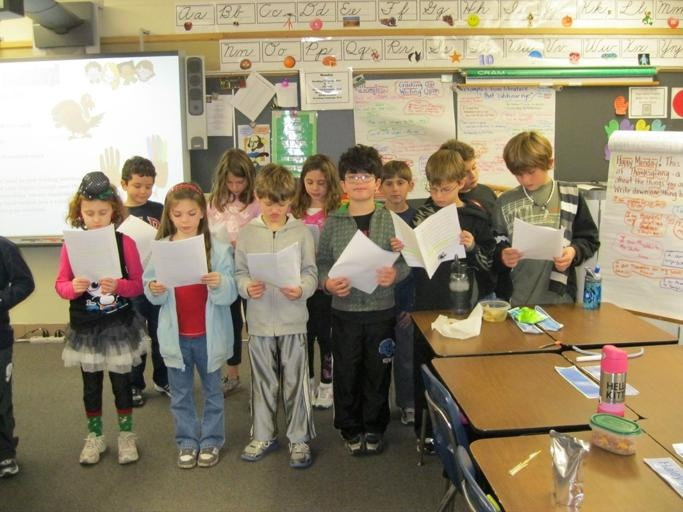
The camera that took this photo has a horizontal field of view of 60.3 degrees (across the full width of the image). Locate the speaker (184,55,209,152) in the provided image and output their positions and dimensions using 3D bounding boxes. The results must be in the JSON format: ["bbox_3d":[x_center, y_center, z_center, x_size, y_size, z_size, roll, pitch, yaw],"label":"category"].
[{"bbox_3d":[-1.199,-1.262,4.783,0.158,0.725,0.113,1,15,9],"label":"speaker"}]

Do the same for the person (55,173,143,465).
[{"bbox_3d":[-1.317,0.334,3.261,0.455,1.580,0.514,-6,16,-18],"label":"person"}]

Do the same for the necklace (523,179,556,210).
[{"bbox_3d":[1.136,-0.352,3.401,0.149,0.204,0.111,-3,32,-2],"label":"necklace"}]

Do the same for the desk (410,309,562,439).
[{"bbox_3d":[0.693,0.513,2.974,0.556,0.517,0.555,-5,17,-13],"label":"desk"}]

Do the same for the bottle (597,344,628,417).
[{"bbox_3d":[1.044,0.476,2.263,0.102,0.288,0.200,7,17,27],"label":"bottle"}]

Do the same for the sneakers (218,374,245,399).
[{"bbox_3d":[-0.760,0.886,4.019,0.061,0.079,0.181,-6,-5,24],"label":"sneakers"}]

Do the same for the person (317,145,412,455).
[{"bbox_3d":[0.123,0.259,3.217,0.499,1.689,0.471,-2,15,-4],"label":"person"}]

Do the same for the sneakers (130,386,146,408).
[{"bbox_3d":[-1.345,0.934,3.917,0.073,0.091,0.197,2,-4,-8],"label":"sneakers"}]

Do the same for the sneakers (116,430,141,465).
[{"bbox_3d":[-1.185,1.072,3.265,0.086,0.098,0.216,-1,-2,-14],"label":"sneakers"}]

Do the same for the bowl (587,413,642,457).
[{"bbox_3d":[1.002,0.669,2.175,0.188,0.099,0.129,2,-1,41],"label":"bowl"}]

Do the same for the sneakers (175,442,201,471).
[{"bbox_3d":[-0.842,1.107,3.193,0.077,0.062,0.149,1,-2,-5],"label":"sneakers"}]

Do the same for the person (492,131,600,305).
[{"bbox_3d":[1.133,-0.193,3.241,0.587,0.973,0.537,3,15,14],"label":"person"}]

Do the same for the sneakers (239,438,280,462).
[{"bbox_3d":[-0.459,1.076,3.294,0.086,0.096,0.210,4,4,44],"label":"sneakers"}]

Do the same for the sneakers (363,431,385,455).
[{"bbox_3d":[0.173,1.048,3.272,0.085,0.132,0.136,1,0,-1],"label":"sneakers"}]

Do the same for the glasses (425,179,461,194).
[{"bbox_3d":[0.585,-0.401,3.336,0.181,0.080,0.166,2,15,10],"label":"glasses"}]

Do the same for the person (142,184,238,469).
[{"bbox_3d":[-0.803,0.380,3.179,0.485,1.516,0.475,-4,15,-13],"label":"person"}]

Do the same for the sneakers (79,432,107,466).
[{"bbox_3d":[-1.404,1.070,3.322,0.103,0.125,0.265,0,5,-4],"label":"sneakers"}]

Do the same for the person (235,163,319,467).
[{"bbox_3d":[-0.352,0.319,3.207,0.449,1.594,0.560,-2,15,-3],"label":"person"}]

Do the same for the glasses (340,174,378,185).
[{"bbox_3d":[0.092,-0.424,3.155,0.158,0.052,0.046,0,15,3],"label":"glasses"}]

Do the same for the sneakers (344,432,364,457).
[{"bbox_3d":[0.066,1.054,3.278,0.077,0.130,0.058,-9,-13,6],"label":"sneakers"}]

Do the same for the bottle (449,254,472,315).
[{"bbox_3d":[0.626,0.152,3.114,0.104,0.297,0.201,2,15,12],"label":"bottle"}]
